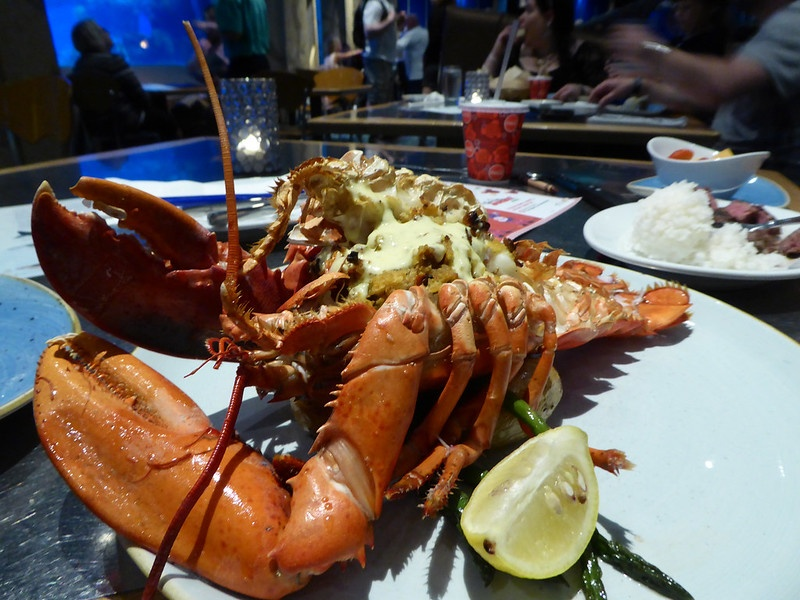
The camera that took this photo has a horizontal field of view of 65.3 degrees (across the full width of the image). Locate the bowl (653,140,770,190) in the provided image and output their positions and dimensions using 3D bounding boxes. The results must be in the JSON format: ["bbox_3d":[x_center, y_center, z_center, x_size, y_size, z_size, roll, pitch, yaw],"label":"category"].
[{"bbox_3d":[0.871,-0.375,1.765,0.243,0.103,0.183,22,36,38],"label":"bowl"}]

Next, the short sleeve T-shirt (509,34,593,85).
[{"bbox_3d":[0.630,-0.953,2.611,0.287,0.126,0.297,-2,30,3],"label":"short sleeve T-shirt"}]

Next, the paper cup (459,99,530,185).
[{"bbox_3d":[0.263,-0.473,1.882,0.210,0.230,0.226,-1,34,1],"label":"paper cup"}]

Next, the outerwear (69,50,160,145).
[{"bbox_3d":[-1.138,-0.763,2.478,0.251,0.364,0.341,-15,-7,-6],"label":"outerwear"}]

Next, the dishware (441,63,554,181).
[{"bbox_3d":[0.312,-0.530,1.925,0.224,0.256,0.232,-1,34,0],"label":"dishware"}]

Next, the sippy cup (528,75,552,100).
[{"bbox_3d":[0.617,-0.957,2.808,0.100,0.122,0.107,-4,38,3],"label":"sippy cup"}]
